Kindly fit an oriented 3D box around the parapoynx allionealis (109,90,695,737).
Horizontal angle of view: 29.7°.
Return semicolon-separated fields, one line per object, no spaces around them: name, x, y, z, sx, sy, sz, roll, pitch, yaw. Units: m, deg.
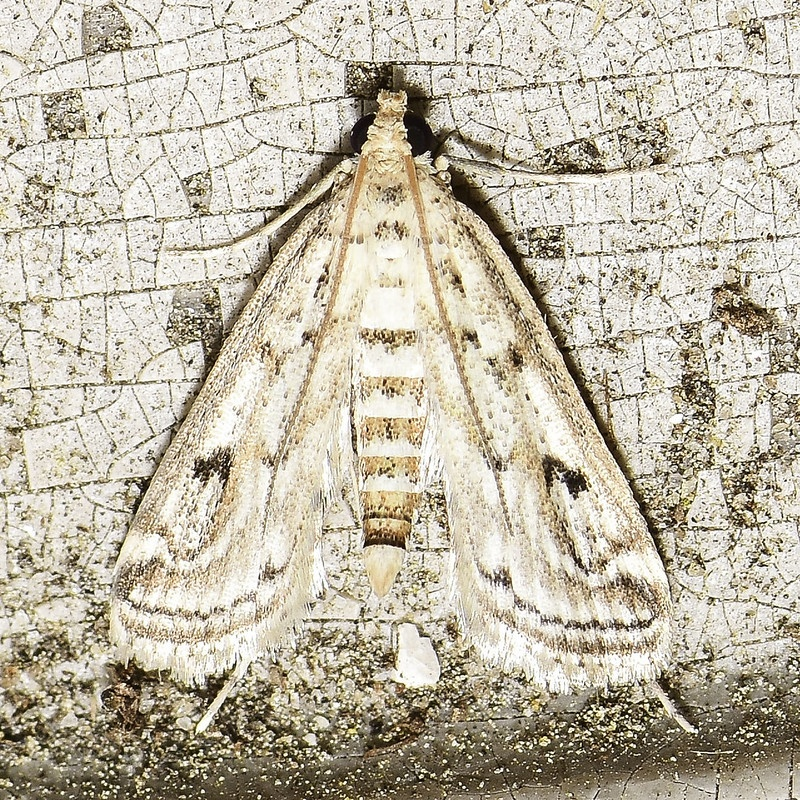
parapoynx allionealis;-0.014;-0.072;5.543;1.666;2.260;0.529;1;5;4
